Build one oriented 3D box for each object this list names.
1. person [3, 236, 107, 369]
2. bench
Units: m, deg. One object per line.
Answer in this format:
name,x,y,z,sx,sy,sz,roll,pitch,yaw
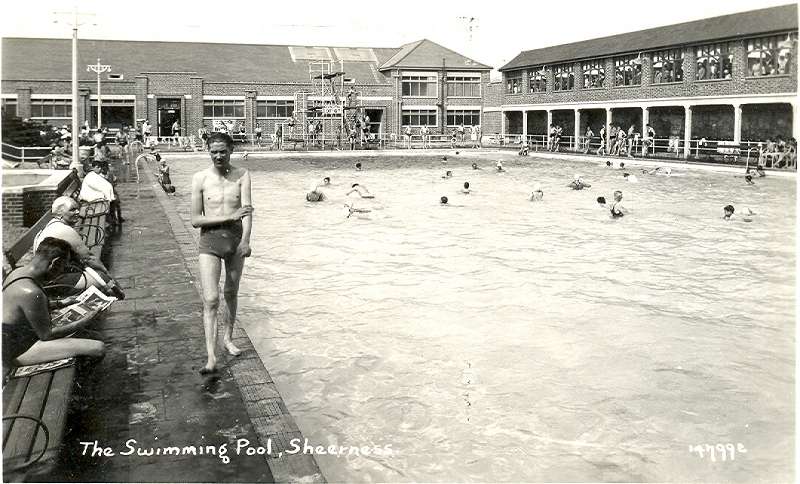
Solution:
person,-4.672,0.885,7.679,1.139,1.735,0.866,-17,51,-34
bench,-4.949,1.117,8.303,0.898,1.094,4.849,-1,30,-19
